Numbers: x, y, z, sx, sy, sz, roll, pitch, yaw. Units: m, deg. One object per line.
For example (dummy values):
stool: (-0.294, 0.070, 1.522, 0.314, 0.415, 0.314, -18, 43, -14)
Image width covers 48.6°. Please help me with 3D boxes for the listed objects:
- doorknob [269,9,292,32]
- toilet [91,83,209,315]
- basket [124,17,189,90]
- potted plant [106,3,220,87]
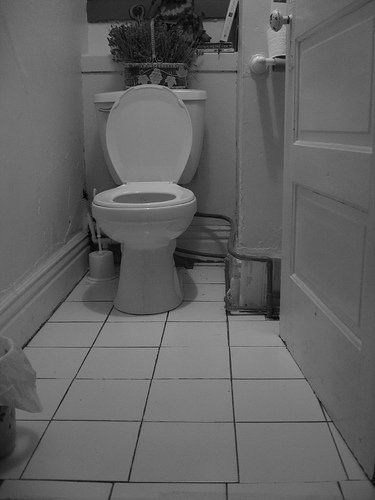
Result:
doorknob: (0.250, -0.620, 1.114, 0.047, 0.054, 0.057, -3, 57, 2)
toilet: (-0.126, -0.261, 1.744, 0.520, 0.942, 0.725, -3, 10, -10)
basket: (-0.143, -0.833, 1.898, 0.278, 0.314, 0.326, -5, 38, -8)
potted plant: (-0.124, -0.967, 1.952, 0.471, 0.397, 0.468, -4, 29, 0)
